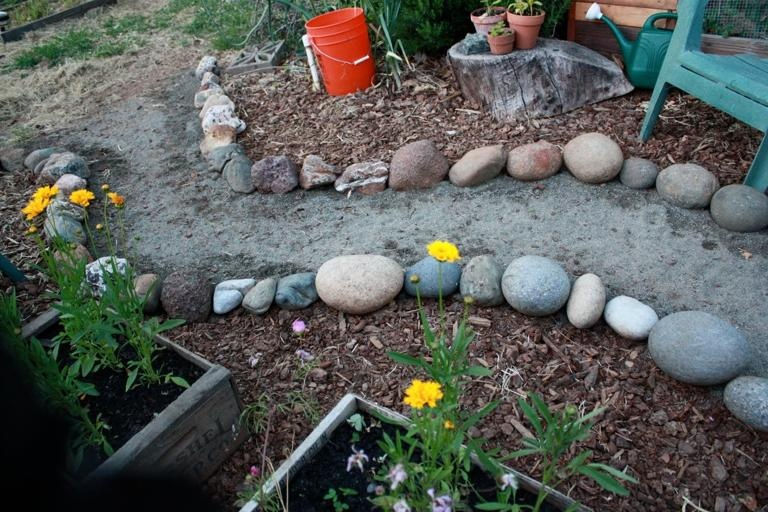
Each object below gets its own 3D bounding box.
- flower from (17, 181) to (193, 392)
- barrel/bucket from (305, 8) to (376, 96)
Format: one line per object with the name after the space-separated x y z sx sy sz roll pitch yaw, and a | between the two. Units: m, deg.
-1.618 0.202 3.034 0.689 1.100 0.581 6 44 -2 | flower
-0.336 -1.683 4.419 0.495 0.592 0.344 -18 48 -2 | barrel/bucket
